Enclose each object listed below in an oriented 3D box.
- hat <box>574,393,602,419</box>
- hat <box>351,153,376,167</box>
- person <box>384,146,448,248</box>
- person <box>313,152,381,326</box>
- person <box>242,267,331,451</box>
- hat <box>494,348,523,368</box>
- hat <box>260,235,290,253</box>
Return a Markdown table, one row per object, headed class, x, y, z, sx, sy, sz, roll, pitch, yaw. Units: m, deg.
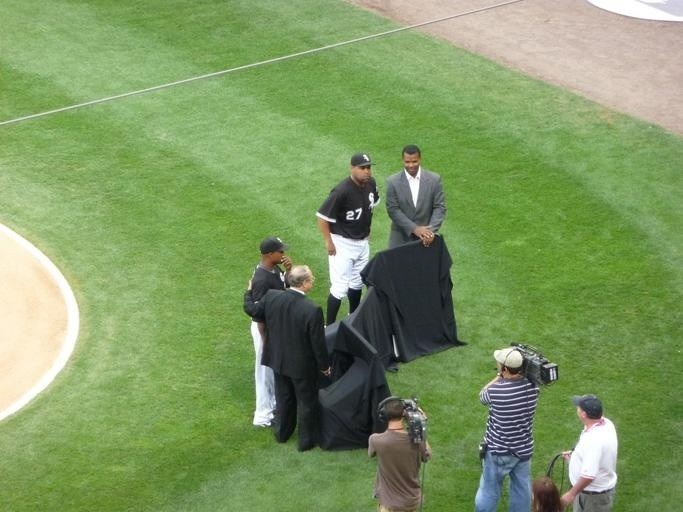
| class | x | y | z | sx | sy | sz | roll | pitch | yaw |
| --- | --- | --- | --- | --- | --- | --- | --- | --- | --- |
| hat | 3.598 | 2.187 | 18.926 | 0.261 | 0.287 | 0.415 | -12 | 27 | -27 |
| hat | 0.292 | -1.571 | 21.691 | 0.238 | 0.155 | 0.303 | -8 | 15 | -29 |
| person | 1.271 | -0.909 | 22.016 | 0.989 | 1.765 | 0.924 | 1 | 25 | 0 |
| person | 0.131 | -0.228 | 22.051 | 1.025 | 2.981 | 0.895 | -5 | 26 | -12 |
| person | -0.755 | 1.632 | 20.451 | 0.997 | 2.818 | 1.158 | -8 | 27 | -18 |
| hat | 2.472 | 1.504 | 19.105 | 0.362 | 0.193 | 0.258 | 20 | 37 | 26 |
| hat | -1.087 | -0.146 | 20.729 | 0.366 | 0.183 | 0.240 | -15 | 20 | -6 |
